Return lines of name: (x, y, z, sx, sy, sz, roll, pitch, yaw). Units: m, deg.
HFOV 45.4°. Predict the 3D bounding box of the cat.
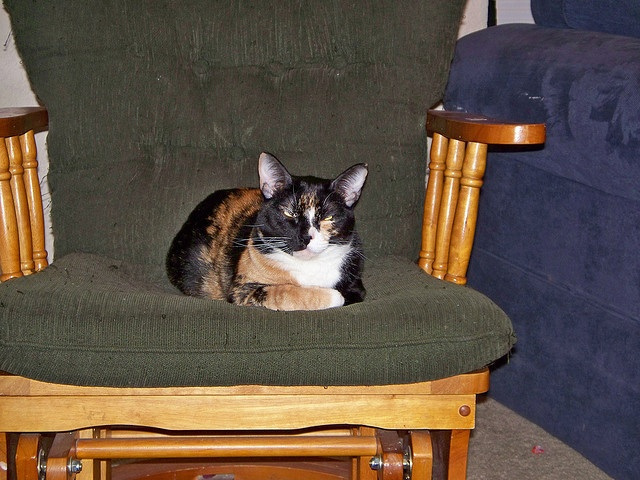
cat: (-0.160, -0.001, 2.107, 0.349, 0.353, 0.549, 5, -3, -37)
